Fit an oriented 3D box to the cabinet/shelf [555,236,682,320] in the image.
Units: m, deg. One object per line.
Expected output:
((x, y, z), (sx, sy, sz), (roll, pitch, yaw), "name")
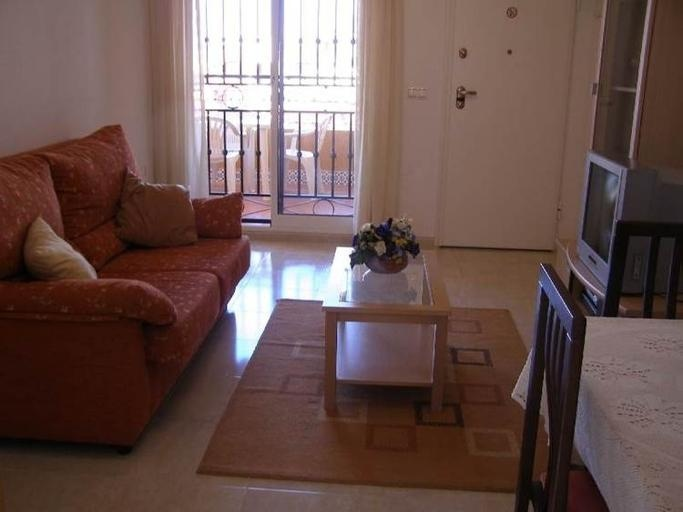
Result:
((1.615, 0.216, 3.142), (0.424, 0.296, 0.626), (0, 29, 6), "cabinet/shelf")

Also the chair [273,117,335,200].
((-0.300, -1.056, 5.327), (0.611, 0.927, 0.579), (-14, 33, -34), "chair")

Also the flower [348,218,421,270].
((0.199, -0.081, 2.907), (0.288, 0.213, 0.288), (-7, 19, -8), "flower")

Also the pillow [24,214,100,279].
((-1.256, -0.007, 2.394), (0.488, 0.233, 0.228), (15, 23, 35), "pillow")
